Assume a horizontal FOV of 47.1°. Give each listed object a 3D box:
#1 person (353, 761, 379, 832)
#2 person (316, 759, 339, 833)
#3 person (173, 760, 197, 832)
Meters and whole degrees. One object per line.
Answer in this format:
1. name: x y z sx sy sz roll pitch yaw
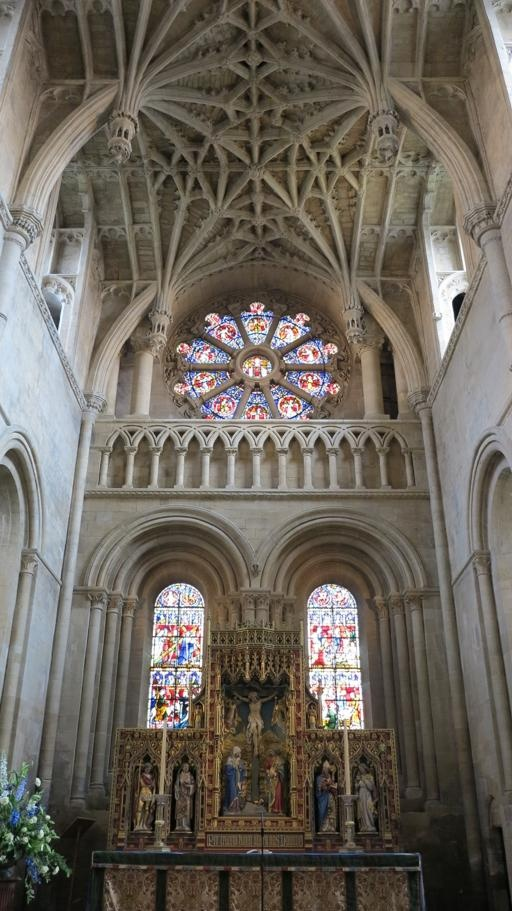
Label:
1. person: 1.325 4.136 7.129 0.297 0.796 0.223 18 -33 -29
2. person: 0.847 4.121 7.108 0.263 0.780 0.197 -1 -28 2
3. person: -0.860 4.140 7.111 0.261 0.752 0.232 4 -29 -7
